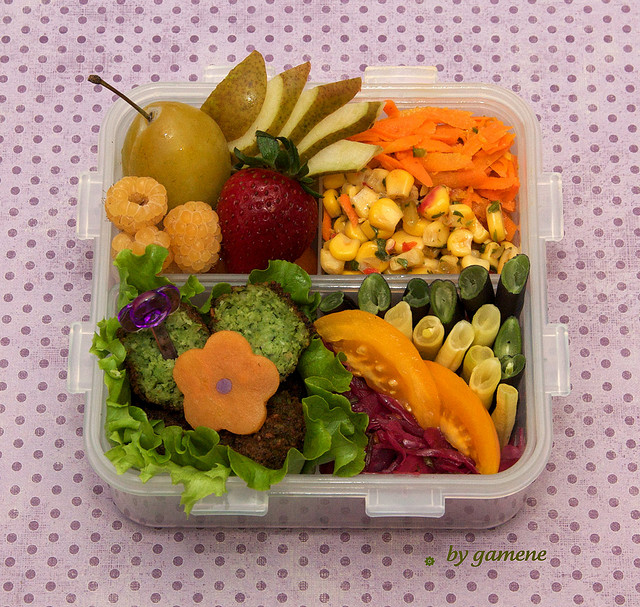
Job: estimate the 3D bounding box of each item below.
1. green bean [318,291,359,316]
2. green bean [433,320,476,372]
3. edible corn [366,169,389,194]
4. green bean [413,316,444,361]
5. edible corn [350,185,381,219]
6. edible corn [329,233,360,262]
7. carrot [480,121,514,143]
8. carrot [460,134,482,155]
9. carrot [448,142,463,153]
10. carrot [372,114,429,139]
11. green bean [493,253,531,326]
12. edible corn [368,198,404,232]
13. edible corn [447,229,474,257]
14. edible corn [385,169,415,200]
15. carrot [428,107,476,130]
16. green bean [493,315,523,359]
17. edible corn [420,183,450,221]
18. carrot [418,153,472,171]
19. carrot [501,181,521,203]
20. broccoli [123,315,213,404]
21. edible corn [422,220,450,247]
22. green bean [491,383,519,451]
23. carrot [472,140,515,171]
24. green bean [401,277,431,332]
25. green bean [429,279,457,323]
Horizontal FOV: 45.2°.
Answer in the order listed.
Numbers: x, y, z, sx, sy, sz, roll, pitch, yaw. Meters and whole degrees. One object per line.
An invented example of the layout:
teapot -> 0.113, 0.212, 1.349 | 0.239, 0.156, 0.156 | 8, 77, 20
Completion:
green bean -> 0.041, 0.006, 1.622 | 0.071, 0.072, 0.049 | 17, 63, -36
green bean -> 0.279, 0.086, 1.603 | 0.043, 0.128, 0.049 | -21, 58, -28
edible corn -> 0.132, -0.282, 1.793 | 0.059, 0.017, 0.060 | 2, 94, 12
green bean -> 0.225, 0.076, 1.616 | 0.075, 0.129, 0.085 | -1, 80, 5
edible corn -> 0.100, -0.233, 1.779 | 0.061, 0.027, 0.065 | 42, 88, 6
edible corn -> 0.054, -0.128, 1.773 | 0.068, 0.029, 0.059 | 16, 83, 1
carrot -> 0.399, -0.393, 1.763 | 0.069, 0.008, 0.048 | -19, 72, 0
carrot -> 0.346, -0.361, 1.770 | 0.044, 0.035, 0.033 | -39, 85, -6
carrot -> 0.316, -0.361, 1.789 | 0.021, 0.009, 0.024 | -3, 68, -2
carrot -> 0.175, -0.397, 1.782 | 0.099, 0.030, 0.065 | -8, 58, 5
green bean -> 0.391, -0.037, 1.584 | 0.068, 0.074, 0.142 | 2, 120, 13
edible corn -> 0.147, -0.205, 1.761 | 0.073, 0.031, 0.074 | 33, 83, 3
edible corn -> 0.318, -0.140, 1.762 | 0.054, 0.037, 0.066 | 13, 83, 1
edible corn -> 0.180, -0.277, 1.769 | 0.065, 0.035, 0.071 | 6, 83, 0
carrot -> 0.306, -0.431, 1.788 | 0.105, 0.016, 0.052 | 10, 84, 2
green bean -> 0.387, 0.072, 1.594 | 0.048, 0.028, 0.090 | 10, 91, 24
edible corn -> 0.263, -0.229, 1.762 | 0.058, 0.028, 0.076 | 14, 94, 18
carrot -> 0.285, -0.323, 1.766 | 0.109, 0.020, 0.040 | 1, 98, 14
carrot -> 0.439, -0.255, 1.772 | 0.028, 0.011, 0.049 | 36, 121, 29
broccoli -> -0.311, 0.093, 1.489 | 0.157, 0.053, 0.168 | 27, 83, 2
edible corn -> 0.268, -0.160, 1.761 | 0.054, 0.026, 0.058 | -7, 99, -24
green bean -> 0.408, 0.231, 1.707 | 0.077, 0.270, 0.087 | 2, 98, 15
carrot -> 0.397, -0.340, 1.773 | 0.093, 0.019, 0.054 | -39, 107, -12
green bean -> 0.205, 0.003, 1.629 | 0.048, 0.087, 0.092 | 7, 76, 4
green bean -> 0.257, -0.006, 1.616 | 0.050, 0.019, 0.090 | 0, 82, 8
